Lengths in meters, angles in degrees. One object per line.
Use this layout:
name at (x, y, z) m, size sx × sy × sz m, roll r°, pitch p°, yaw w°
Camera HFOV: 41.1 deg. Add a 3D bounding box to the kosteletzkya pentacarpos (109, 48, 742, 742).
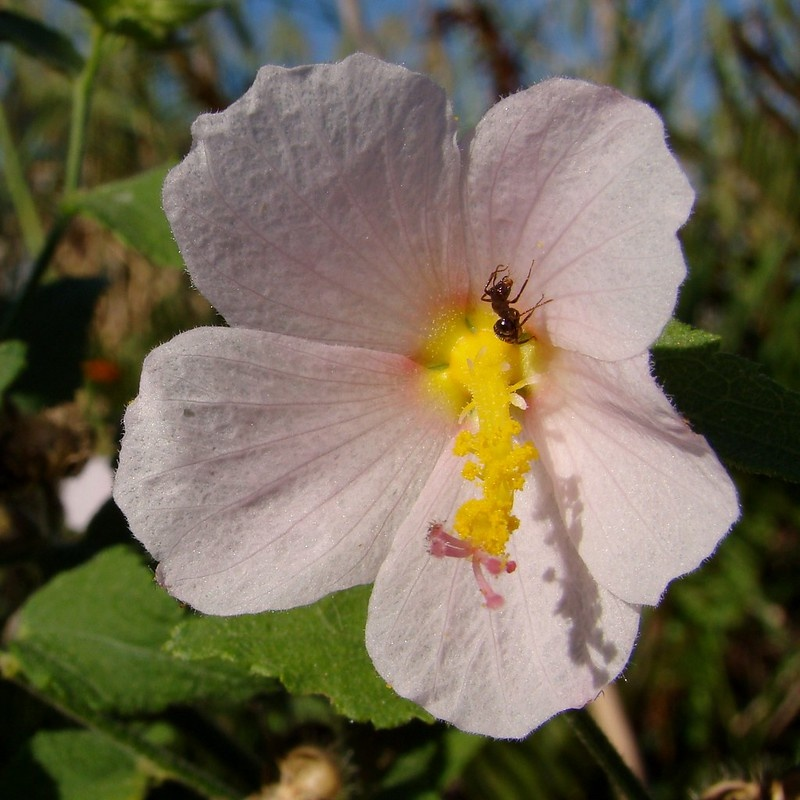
kosteletzkya pentacarpos at (0.044, -0.011, 1.215) m, size 0.701 × 0.317 × 0.694 m, roll 25°, pitch 84°, yaw 8°
